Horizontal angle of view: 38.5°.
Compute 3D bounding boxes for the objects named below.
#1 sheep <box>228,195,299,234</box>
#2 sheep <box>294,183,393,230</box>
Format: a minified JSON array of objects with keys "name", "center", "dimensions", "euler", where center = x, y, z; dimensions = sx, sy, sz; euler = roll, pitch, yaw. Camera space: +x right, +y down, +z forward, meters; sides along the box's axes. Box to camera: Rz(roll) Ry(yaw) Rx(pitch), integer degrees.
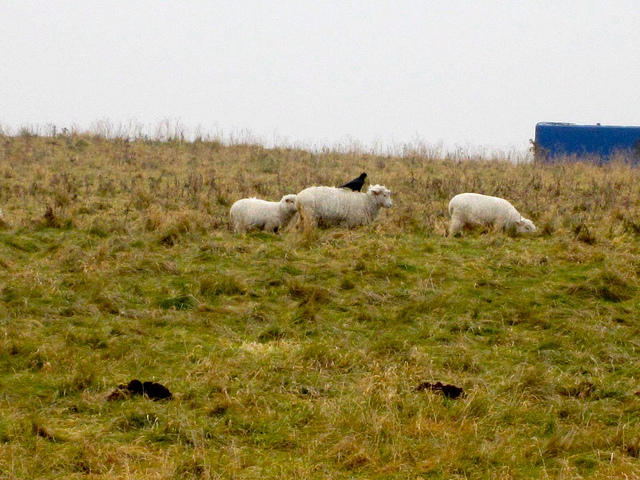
[{"name":"sheep","center":[-1.170,-0.498,19.825],"dimensions":[1.478,1.016,0.581],"euler":[-2,13,-2]},{"name":"sheep","center":[0.493,-0.636,20.026],"dimensions":[2.333,1.551,0.904],"euler":[2,5,-15]}]
